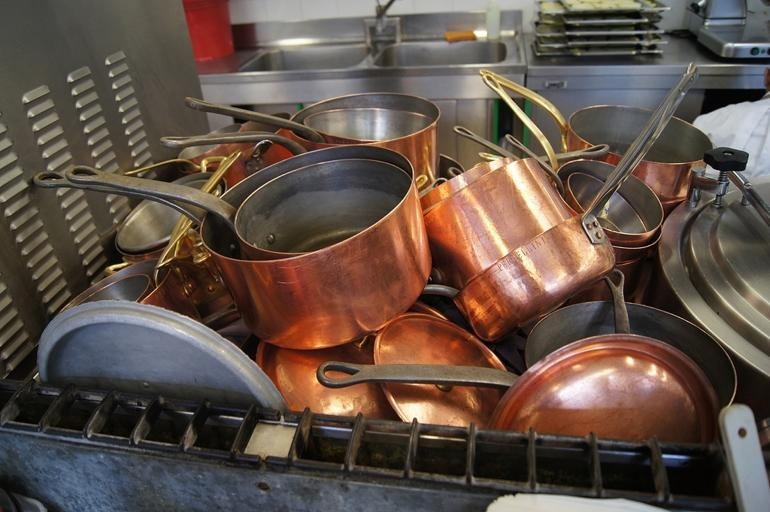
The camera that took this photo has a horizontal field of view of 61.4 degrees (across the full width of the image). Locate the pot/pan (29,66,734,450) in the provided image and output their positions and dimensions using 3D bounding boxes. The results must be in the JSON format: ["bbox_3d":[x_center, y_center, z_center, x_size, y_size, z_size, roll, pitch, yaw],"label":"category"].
[{"bbox_3d":[0.045,-0.011,0.852,0.730,0.387,0.391,3,25,13],"label":"pot/pan"}]

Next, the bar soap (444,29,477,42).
[{"bbox_3d":[0.334,-0.958,2.858,0.135,0.042,0.133,-2,25,4],"label":"bar soap"}]
